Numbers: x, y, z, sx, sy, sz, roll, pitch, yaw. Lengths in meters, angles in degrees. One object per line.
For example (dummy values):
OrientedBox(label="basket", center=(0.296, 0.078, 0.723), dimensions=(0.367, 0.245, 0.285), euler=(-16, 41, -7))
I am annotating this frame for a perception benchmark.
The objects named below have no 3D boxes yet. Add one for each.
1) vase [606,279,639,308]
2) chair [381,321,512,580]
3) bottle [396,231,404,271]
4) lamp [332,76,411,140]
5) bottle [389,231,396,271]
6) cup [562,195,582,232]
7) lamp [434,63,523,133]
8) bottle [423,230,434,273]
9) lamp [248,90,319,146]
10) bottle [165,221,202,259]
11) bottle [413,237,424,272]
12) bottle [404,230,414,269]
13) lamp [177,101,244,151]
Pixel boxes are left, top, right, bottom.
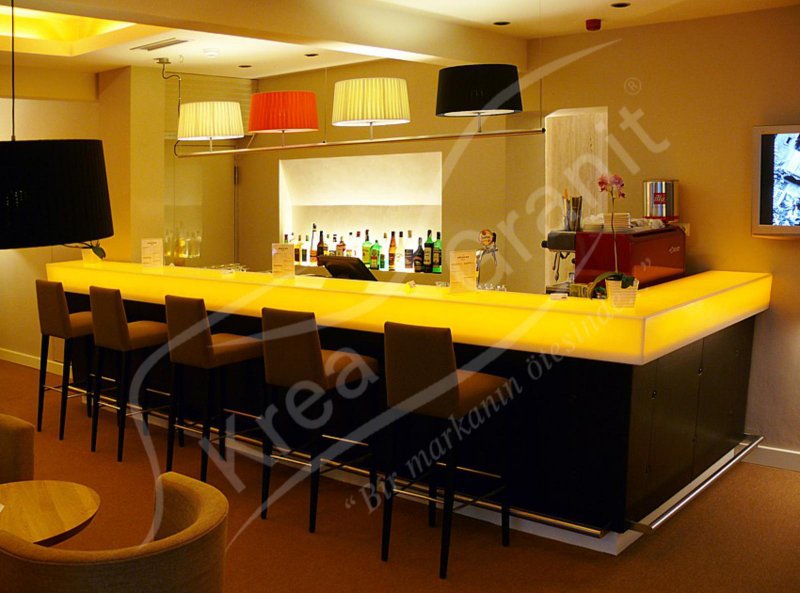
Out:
OrientedBox(label="vase", center=(1.190, -0.007, 3.491), dimensions=(0.132, 0.121, 0.159), euler=(2, 2, 5))
OrientedBox(label="chair", center=(0.251, 0.760, 3.672), dimensions=(0.724, 1.292, 0.762), euler=(4, 9, 24))
OrientedBox(label="bottle", center=(0.000, -0.447, 6.452), dimensions=(0.070, 0.361, 0.137), euler=(0, 8, -1))
OrientedBox(label="lamp", center=(-0.199, -1.325, 4.535), dimensions=(0.494, 0.306, 0.522), euler=(3, 9, 22))
OrientedBox(label="bottle", center=(-0.074, -0.451, 6.488), dimensions=(0.078, 0.360, 0.188), euler=(0, 8, -1))
OrientedBox(label="cup", center=(1.233, -0.586, 4.645), dimensions=(0.121, 0.223, 0.138), euler=(1, 9, 8))
OrientedBox(label="lamp", center=(0.502, -1.228, 4.167), dimensions=(0.583, 0.423, 0.570), euler=(-9, 14, -31))
OrientedBox(label="bottle", center=(0.276, -0.434, 6.250), dimensions=(0.095, 0.390, 0.225), euler=(0, 9, 1))
OrientedBox(label="lamp", center=(-0.862, -1.354, 5.015), dimensions=(0.466, 0.371, 0.464), euler=(-7, 11, -34))
OrientedBox(label="bottle", center=(-2.267, -0.577, 6.808), dimensions=(0.306, 0.451, 0.324), euler=(2, 5, 0))
OrientedBox(label="bottle", center=(0.178, -0.405, 6.310), dimensions=(0.091, 0.308, 0.205), euler=(0, 9, 1))
OrientedBox(label="bottle", center=(0.094, -0.459, 6.372), dimensions=(0.099, 0.362, 0.201), euler=(0, 9, -2))
OrientedBox(label="lamp", center=(-1.485, -1.335, 5.321), dimensions=(0.550, 0.444, 0.570), euler=(-3, 8, -13))
